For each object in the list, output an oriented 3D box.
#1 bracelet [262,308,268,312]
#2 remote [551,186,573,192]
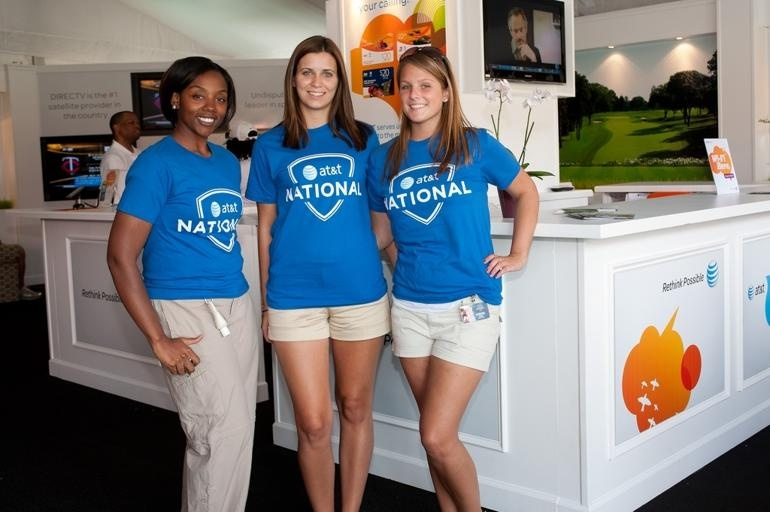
[{"bbox_3d":[-0.559,0.249,2.531,0.024,0.006,0.024,-10,17,-37],"label":"bracelet"},{"bbox_3d":[1.762,-0.673,5.340,0.291,0.054,0.097,-9,11,-32],"label":"remote"}]
